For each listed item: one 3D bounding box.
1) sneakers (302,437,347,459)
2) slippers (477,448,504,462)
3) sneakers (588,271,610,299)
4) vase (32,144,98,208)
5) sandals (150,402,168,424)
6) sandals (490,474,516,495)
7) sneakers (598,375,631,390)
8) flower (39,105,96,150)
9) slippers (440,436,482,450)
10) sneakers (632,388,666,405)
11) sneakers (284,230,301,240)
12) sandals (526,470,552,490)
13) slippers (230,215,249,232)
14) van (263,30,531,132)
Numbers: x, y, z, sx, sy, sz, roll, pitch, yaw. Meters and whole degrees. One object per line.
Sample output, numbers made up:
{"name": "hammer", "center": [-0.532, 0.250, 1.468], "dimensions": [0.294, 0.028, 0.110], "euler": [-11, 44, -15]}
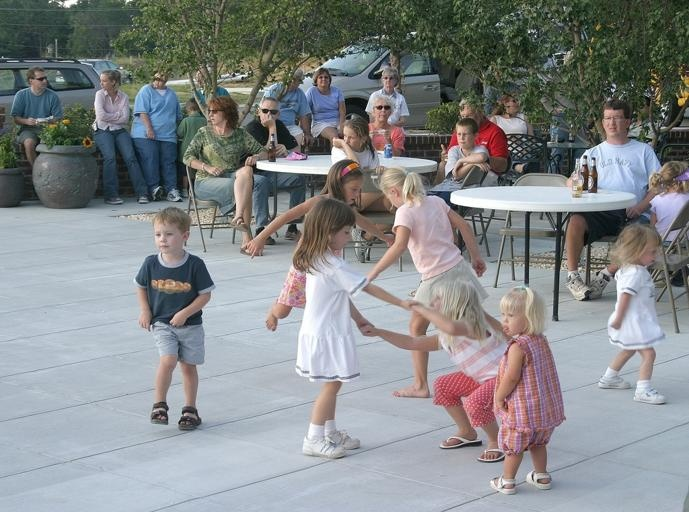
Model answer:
{"name": "sneakers", "center": [-0.134, 1.112, 5.584], "dimensions": [0.279, 0.091, 0.101], "euler": [1, 7, -1]}
{"name": "slippers", "center": [0.840, 1.145, 5.514], "dimensions": [0.152, 0.075, 0.100], "euler": [2, 8, 30]}
{"name": "sneakers", "center": [2.338, 0.236, 8.757], "dimensions": [0.160, 0.145, 0.419], "euler": [4, 13, 30]}
{"name": "vase", "center": [-4.134, -1.150, 13.971], "dimensions": [1.197, 0.823, 0.958], "euler": [1, 3, -3]}
{"name": "sandals", "center": [-1.183, 0.969, 5.959], "dimensions": [0.119, 0.145, 0.183], "euler": [-5, 7, -12]}
{"name": "sandals", "center": [0.858, 1.237, 5.177], "dimensions": [0.081, 0.048, 0.132], "euler": [-2, 9, -18]}
{"name": "sneakers", "center": [1.843, 0.871, 6.556], "dimensions": [0.250, 0.076, 0.084], "euler": [0, 2, -6]}
{"name": "flower", "center": [-4.032, -1.832, 13.795], "dimensions": [0.956, 0.514, 0.882], "euler": [-2, 7, -4]}
{"name": "slippers", "center": [0.689, 1.103, 5.667], "dimensions": [0.199, 0.042, 0.093], "euler": [1, -1, -6]}
{"name": "sneakers", "center": [2.022, 0.930, 6.296], "dimensions": [0.220, 0.073, 0.084], "euler": [0, 1, 16]}
{"name": "sneakers", "center": [-0.631, -0.255, 11.307], "dimensions": [0.253, 0.076, 0.098], "euler": [3, 9, 34]}
{"name": "sandals", "center": [1.072, 1.221, 5.222], "dimensions": [0.083, 0.050, 0.138], "euler": [-1, 6, -10]}
{"name": "slippers", "center": [-1.184, -0.342, 10.532], "dimensions": [0.109, 0.078, 0.253], "euler": [-1, -15, 8]}
{"name": "van", "center": [1.220, -3.694, 19.558], "dimensions": [4.938, 1.964, 2.342], "euler": [-1, 9, -25]}
